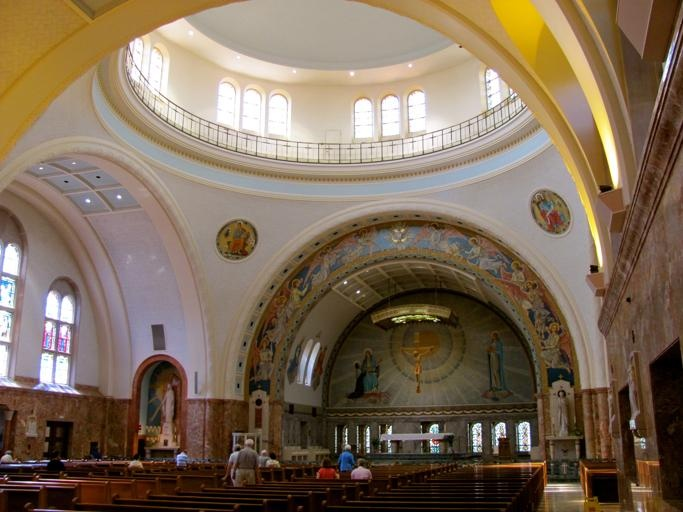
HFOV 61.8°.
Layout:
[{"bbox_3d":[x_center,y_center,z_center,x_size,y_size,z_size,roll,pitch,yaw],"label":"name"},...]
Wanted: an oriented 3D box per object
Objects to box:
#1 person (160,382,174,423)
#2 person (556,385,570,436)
[{"bbox_3d":[-6.860,5.789,22.594,0.655,1.575,0.304,-9,-21,20],"label":"person"},{"bbox_3d":[7.483,5.228,19.227,0.482,1.537,0.293,-9,-21,20],"label":"person"}]
